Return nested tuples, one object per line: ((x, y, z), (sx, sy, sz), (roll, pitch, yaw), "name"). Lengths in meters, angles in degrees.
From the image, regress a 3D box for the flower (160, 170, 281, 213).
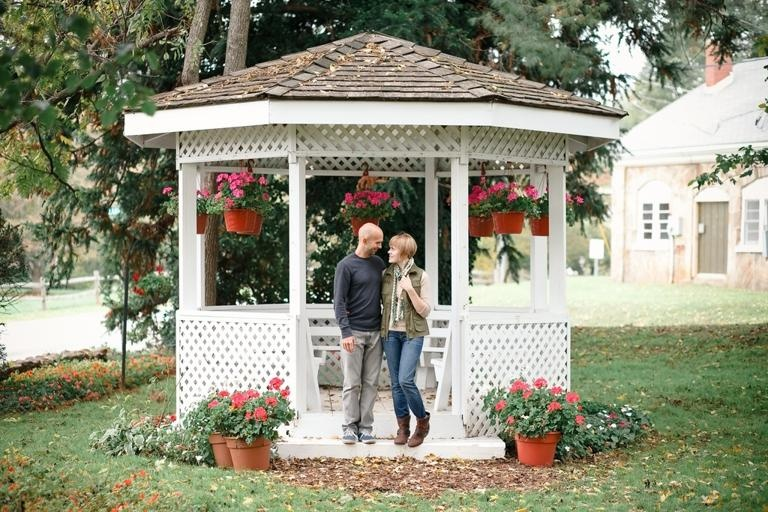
((-2.681, -0.931, 14.326), (1.683, 0.814, 1.114), (-7, 6, 16), "flower")

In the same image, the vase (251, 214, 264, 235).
((-2.012, -0.531, 14.243), (0.283, 0.316, 0.302), (1, -12, 0), "vase")

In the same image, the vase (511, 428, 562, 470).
((2.208, 2.803, 12.946), (0.514, 0.396, 0.520), (11, -18, -29), "vase")

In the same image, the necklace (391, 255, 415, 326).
((0.244, 0.548, 12.951), (0.293, 0.989, 0.286), (1, 7, 8), "necklace")

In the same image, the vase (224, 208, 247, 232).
((-2.340, -0.556, 14.045), (0.384, 0.371, 0.215), (5, 9, 31), "vase")

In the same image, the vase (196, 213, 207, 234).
((-3.002, -0.515, 14.779), (0.150, 0.357, 0.208), (-2, 8, -15), "vase")

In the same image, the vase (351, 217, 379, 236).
((-0.372, -0.520, 15.002), (0.319, 0.220, 0.312), (-5, -6, 35), "vase")

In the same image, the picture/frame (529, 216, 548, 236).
((2.502, -0.470, 14.556), (0.272, 0.226, 0.290), (0, -9, -1), "picture/frame")

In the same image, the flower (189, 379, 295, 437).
((-1.981, 2.259, 12.937), (1.322, 0.774, 1.130), (-4, 5, -26), "flower")

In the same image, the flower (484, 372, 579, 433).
((2.137, 2.242, 13.129), (1.415, 0.890, 0.741), (2, 8, 12), "flower")

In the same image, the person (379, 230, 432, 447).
((0.306, 1.234, 13.000), (0.709, 3.086, 0.561), (1, 7, 6), "person")

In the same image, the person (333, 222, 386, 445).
((-0.353, 1.128, 12.988), (0.740, 3.181, 0.474), (-1, 7, -7), "person")

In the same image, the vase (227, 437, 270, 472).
((-1.868, 2.807, 12.581), (0.475, 0.345, 0.500), (2, -13, -15), "vase")

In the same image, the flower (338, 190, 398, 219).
((-0.299, -0.865, 15.069), (0.686, 0.478, 0.616), (1, 6, 13), "flower")

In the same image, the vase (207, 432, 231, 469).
((-2.280, 2.781, 12.793), (0.391, 0.450, 0.428), (-5, -12, -3), "vase")
